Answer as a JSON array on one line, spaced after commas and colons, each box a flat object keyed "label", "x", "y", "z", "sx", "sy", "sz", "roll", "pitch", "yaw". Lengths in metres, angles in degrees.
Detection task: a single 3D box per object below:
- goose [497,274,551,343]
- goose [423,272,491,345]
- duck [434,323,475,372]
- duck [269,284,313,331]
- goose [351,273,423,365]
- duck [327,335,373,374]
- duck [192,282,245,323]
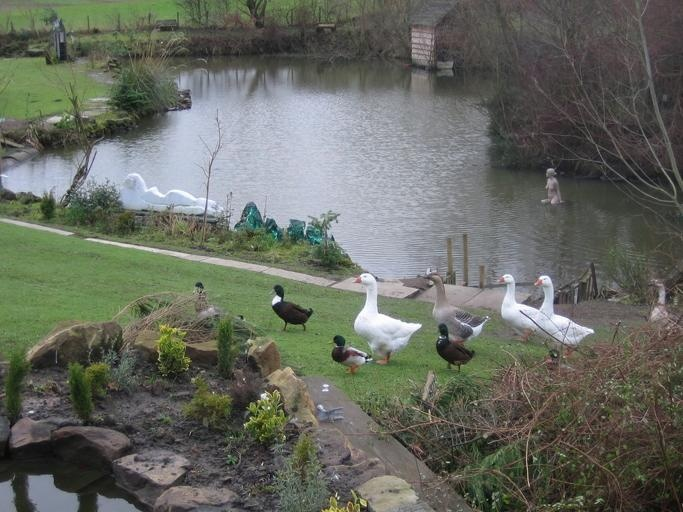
[{"label": "goose", "x": 4.900, "y": 1.365, "z": 21.664, "sx": 1.898, "sy": 2.240, "sz": 0.911, "roll": 2, "pitch": -10, "yaw": 9}, {"label": "goose", "x": 2.932, "y": 1.417, "z": 21.262, "sx": 1.264, "sy": 1.807, "sz": 1.282, "roll": -7, "pitch": 17, "yaw": -37}, {"label": "duck", "x": 2.586, "y": 2.092, "z": 19.680, "sx": 0.882, "sy": 1.083, "sz": 0.641, "roll": -2, "pitch": 9, "yaw": -7}, {"label": "duck", "x": -1.226, "y": 1.288, "z": 21.274, "sx": 0.925, "sy": 1.165, "sz": 0.758, "roll": -1, "pitch": 9, "yaw": -2}, {"label": "goose", "x": 1.092, "y": 1.479, "z": 20.438, "sx": 1.861, "sy": 2.092, "sz": 1.053, "roll": 2, "pitch": 4, "yaw": -18}, {"label": "duck", "x": 0.215, "y": 2.184, "z": 19.398, "sx": 0.898, "sy": 0.854, "sz": 0.506, "roll": 0, "pitch": 9, "yaw": 2}, {"label": "duck", "x": -3.171, "y": 1.051, "z": 19.794, "sx": 0.549, "sy": 0.646, "sz": 0.874, "roll": -5, "pitch": 10, "yaw": -28}]
